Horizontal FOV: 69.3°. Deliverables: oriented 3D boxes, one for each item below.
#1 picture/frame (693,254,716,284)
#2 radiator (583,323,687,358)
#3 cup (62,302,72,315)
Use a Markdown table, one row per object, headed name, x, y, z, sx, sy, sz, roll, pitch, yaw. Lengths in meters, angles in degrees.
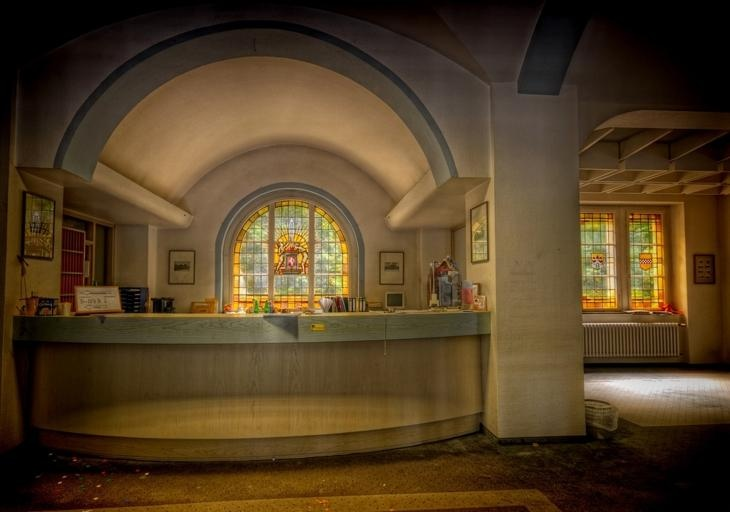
| name | x | y | z | sx | sy | sz | roll | pitch | yaw |
| --- | --- | --- | --- | --- | --- | --- | --- | --- | --- |
| picture/frame | 6.790 | 0.289 | 10.550 | 0.574 | 0.823 | 0.059 | 1 | -5 | -1 |
| radiator | 5.286 | 1.696 | 10.466 | 1.887 | 0.711 | 0.225 | 0 | 11 | -2 |
| cup | -3.564 | 0.634 | 6.275 | 0.090 | 0.173 | 0.287 | -6 | 13 | -27 |
